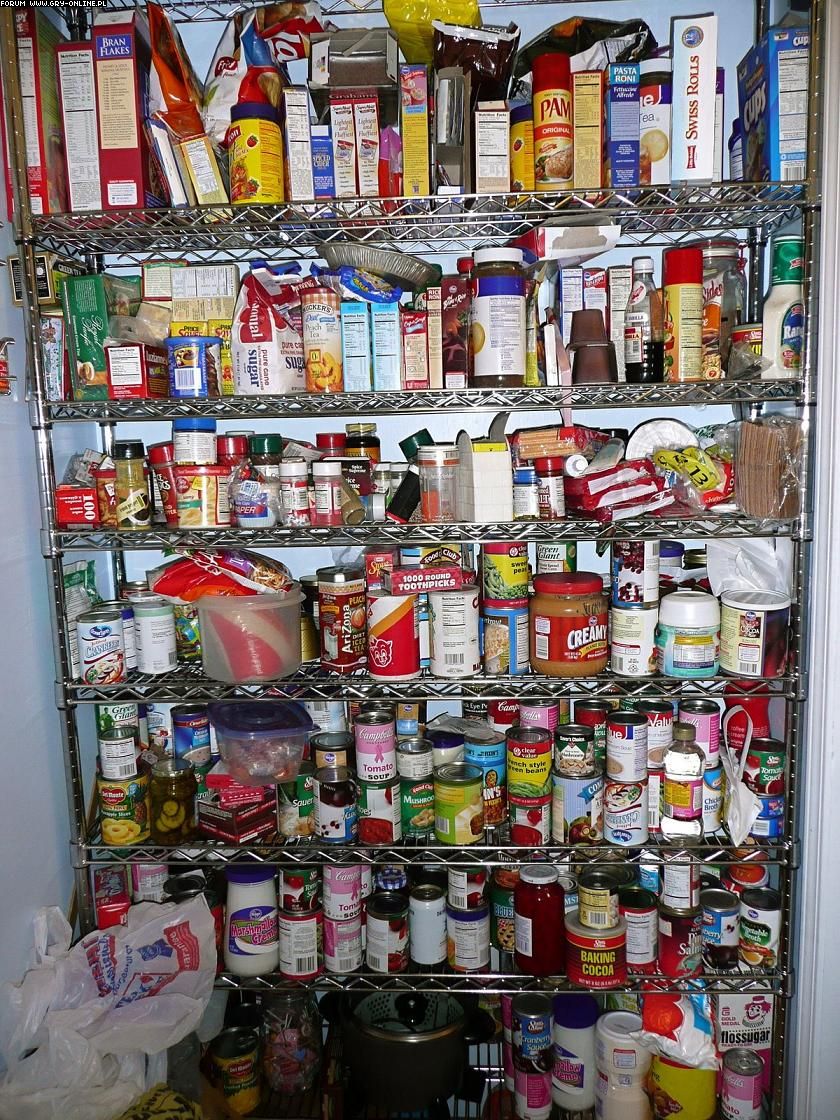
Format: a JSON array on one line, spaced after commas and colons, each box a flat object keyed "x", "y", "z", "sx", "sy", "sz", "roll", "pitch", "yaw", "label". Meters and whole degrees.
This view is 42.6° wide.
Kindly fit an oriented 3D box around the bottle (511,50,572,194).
[{"x": 0.217, "y": -0.716, "z": 1.770, "sx": 0.075, "sy": 0.210, "sz": 0.045, "roll": -3, "pitch": 9, "yaw": 7, "label": "bottle"}]

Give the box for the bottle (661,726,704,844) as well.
[{"x": 0.453, "y": 0.387, "z": 1.870, "sx": 0.076, "sy": 0.196, "sz": 0.059, "roll": -3, "pitch": 9, "yaw": 9, "label": "bottle"}]

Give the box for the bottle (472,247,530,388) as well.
[{"x": 0.128, "y": -0.399, "z": 1.777, "sx": 0.090, "sy": 0.225, "sz": 0.045, "roll": -4, "pitch": 9, "yaw": 1, "label": "bottle"}]

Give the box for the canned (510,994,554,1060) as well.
[{"x": 0.196, "y": 0.810, "z": 1.863, "sx": 0.095, "sy": 0.093, "sz": 0.089, "roll": -2, "pitch": 9, "yaw": -1, "label": "canned"}]

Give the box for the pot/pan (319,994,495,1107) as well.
[{"x": -0.026, "y": 0.863, "z": 1.898, "sx": 0.329, "sy": 0.150, "sz": 0.200, "roll": 0, "pitch": 3, "yaw": 11, "label": "pot/pan"}]

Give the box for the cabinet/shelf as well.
[{"x": 0.127, "y": 0.060, "z": 2.373, "sx": 1.332, "sy": 2.028, "sz": 0.512, "roll": -3, "pitch": 15, "yaw": 1, "label": "cabinet/shelf"}]

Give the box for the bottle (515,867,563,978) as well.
[{"x": 0.203, "y": 0.633, "z": 1.882, "sx": 0.096, "sy": 0.199, "sz": 0.063, "roll": -2, "pitch": 9, "yaw": 12, "label": "bottle"}]

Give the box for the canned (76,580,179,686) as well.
[{"x": -0.514, "y": 0.137, "z": 1.913, "sx": 0.221, "sy": 0.150, "sz": 0.114, "roll": -6, "pitch": 12, "yaw": -29, "label": "canned"}]
